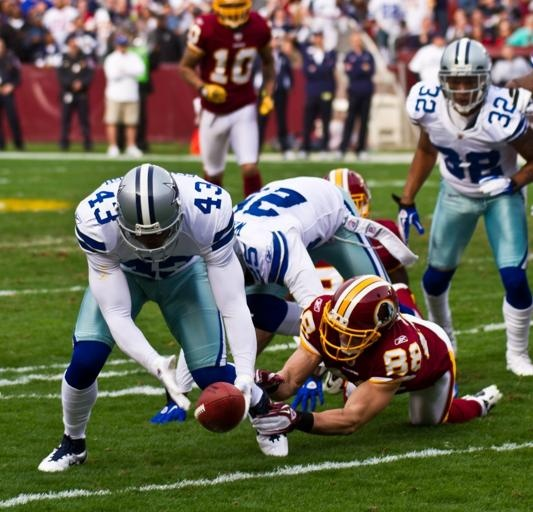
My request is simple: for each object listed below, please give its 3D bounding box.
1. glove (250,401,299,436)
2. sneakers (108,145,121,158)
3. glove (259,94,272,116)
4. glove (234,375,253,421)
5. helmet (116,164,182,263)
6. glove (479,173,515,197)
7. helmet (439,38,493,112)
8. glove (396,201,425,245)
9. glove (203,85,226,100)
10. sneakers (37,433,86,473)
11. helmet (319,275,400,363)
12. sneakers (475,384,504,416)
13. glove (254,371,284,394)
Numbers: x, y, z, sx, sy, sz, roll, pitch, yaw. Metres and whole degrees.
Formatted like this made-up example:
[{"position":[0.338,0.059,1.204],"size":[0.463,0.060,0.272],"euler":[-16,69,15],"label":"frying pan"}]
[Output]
[{"position":[0.032,0.614,3.663],"size":[0.170,0.121,0.129],"euler":[-10,6,3],"label":"glove"},{"position":[-2.340,-1.575,14.756],"size":[0.203,0.207,0.207],"euler":[4,11,18],"label":"sneakers"},{"position":[0.004,-1.138,7.360],"size":[0.095,0.133,0.048],"euler":[5,-4,40],"label":"glove"},{"position":[-0.069,0.491,3.453],"size":[0.052,0.132,0.093],"euler":[11,-14,-33],"label":"glove"},{"position":[-0.410,-0.175,3.453],"size":[0.250,0.290,0.349],"euler":[-5,33,4],"label":"helmet"},{"position":[1.057,-0.326,4.504],"size":[0.119,0.096,0.039],"euler":[17,-24,0],"label":"glove"},{"position":[0.918,-0.845,4.514],"size":[0.217,0.317,0.309],"euler":[2,23,17],"label":"helmet"},{"position":[0.776,-0.168,5.025],"size":[0.058,0.191,0.193],"euler":[-6,7,-11],"label":"glove"},{"position":[-0.384,-1.204,7.146],"size":[0.115,0.065,0.152],"euler":[21,12,34],"label":"glove"},{"position":[-0.756,0.738,3.628],"size":[0.078,0.124,0.260],"euler":[-5,-2,22],"label":"sneakers"},{"position":[0.351,0.196,3.631],"size":[0.240,0.264,0.330],"euler":[24,40,32],"label":"helmet"},{"position":[0.935,0.611,4.140],"size":[0.125,0.095,0.071],"euler":[-12,19,-37],"label":"sneakers"},{"position":[0.005,0.466,3.682],"size":[0.062,0.044,0.110],"euler":[-14,-35,23],"label":"glove"}]
